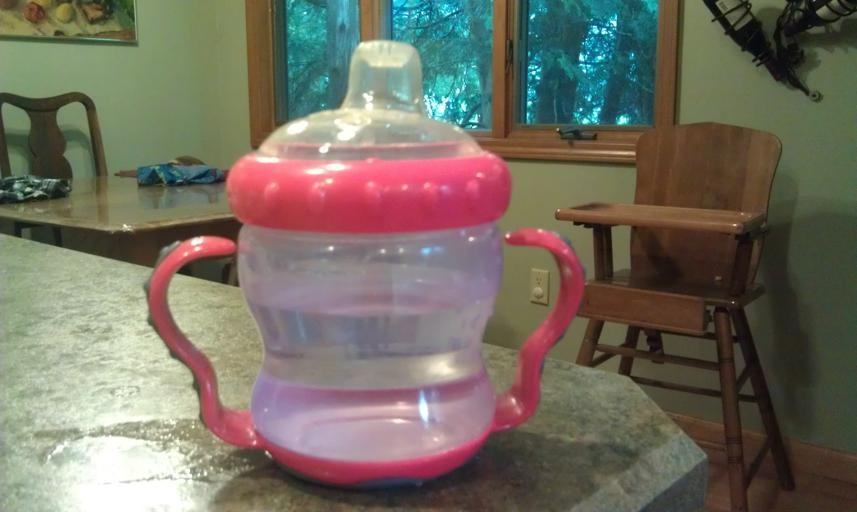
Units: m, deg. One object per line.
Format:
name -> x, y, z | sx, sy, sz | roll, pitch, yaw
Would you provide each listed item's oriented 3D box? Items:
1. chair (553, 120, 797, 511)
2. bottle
chair -> 0.911, 0.187, 2.234 | 0.774, 1.277, 0.688 | 9, 16, 31
bottle -> -0.117, 0.008, 0.812 | 0.429, 0.567, 0.222 | -7, 16, -27
